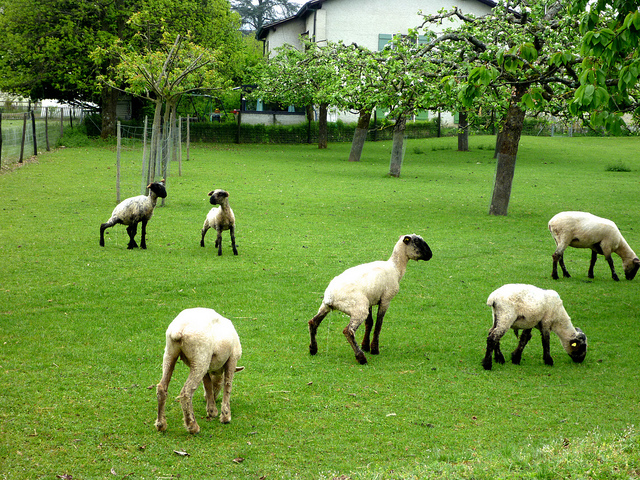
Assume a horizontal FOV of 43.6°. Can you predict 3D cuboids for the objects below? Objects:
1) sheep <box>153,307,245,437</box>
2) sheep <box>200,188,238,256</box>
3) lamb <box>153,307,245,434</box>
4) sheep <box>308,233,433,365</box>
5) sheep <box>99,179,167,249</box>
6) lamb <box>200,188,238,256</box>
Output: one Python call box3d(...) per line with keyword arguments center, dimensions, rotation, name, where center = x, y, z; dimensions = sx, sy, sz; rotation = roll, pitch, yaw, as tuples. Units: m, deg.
box3d(center=(-1.975, 2.313, 14.653), dimensions=(0.999, 2.077, 2.841), rotation=(2, -4, 16), name="sheep")
box3d(center=(-2.754, -0.475, 22.052), dimensions=(0.774, 1.852, 2.937), rotation=(-6, 6, -13), name="sheep")
box3d(center=(-2.054, 2.252, 13.887), dimensions=(1.462, 2.063, 0.648), rotation=(-3, 9, -36), name="lamb")
box3d(center=(1.121, 1.192, 16.408), dimensions=(2.875, 2.315, 0.964), rotation=(-12, 19, -35), name="sheep")
box3d(center=(-5.050, -0.865, 21.530), dimensions=(1.444, 1.962, 1.389), rotation=(-7, 17, -40), name="sheep")
box3d(center=(-2.640, -0.544, 21.586), dimensions=(1.005, 1.750, 0.918), rotation=(-1, 15, -17), name="lamb")
